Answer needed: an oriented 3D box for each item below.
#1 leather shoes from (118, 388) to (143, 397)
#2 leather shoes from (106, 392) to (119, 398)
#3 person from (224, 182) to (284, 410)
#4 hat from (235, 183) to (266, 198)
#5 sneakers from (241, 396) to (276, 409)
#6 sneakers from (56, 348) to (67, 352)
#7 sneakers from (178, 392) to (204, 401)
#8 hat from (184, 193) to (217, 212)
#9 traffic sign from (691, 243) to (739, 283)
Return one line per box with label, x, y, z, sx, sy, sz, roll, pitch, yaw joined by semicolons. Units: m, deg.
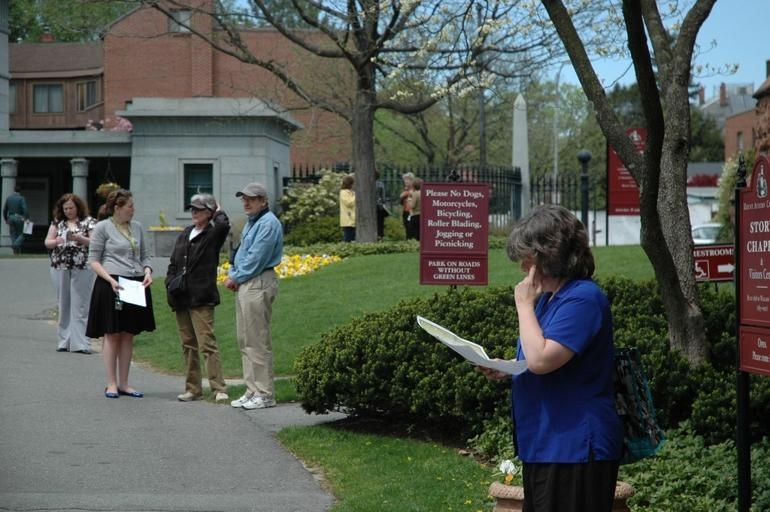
leather shoes;-4.379;2.334;20.953;0.411;0.175;0.159;-3;-4;6
leather shoes;-4.647;2.321;20.691;0.212;0.103;0.177;-5;14;-13
person;-2.192;0.667;20.435;0.822;3.655;1.153;1;13;9
hat;-2.196;-1.081;20.537;0.379;0.211;0.283;11;-8;-43
sneakers;-2.122;2.433;20.376;0.527;0.257;0.192;4;-3;-25
sneakers;-6.358;1.822;23.901;0.186;0.087;0.071;5;-2;7
sneakers;-3.337;2.358;20.826;0.372;0.165;0.167;4;-2;-13
hat;-3.061;-0.907;20.852;0.417;0.351;0.648;-1;-3;17
traffic sign;5.607;0.106;20.762;0.630;0.486;0.086;-1;3;-23
